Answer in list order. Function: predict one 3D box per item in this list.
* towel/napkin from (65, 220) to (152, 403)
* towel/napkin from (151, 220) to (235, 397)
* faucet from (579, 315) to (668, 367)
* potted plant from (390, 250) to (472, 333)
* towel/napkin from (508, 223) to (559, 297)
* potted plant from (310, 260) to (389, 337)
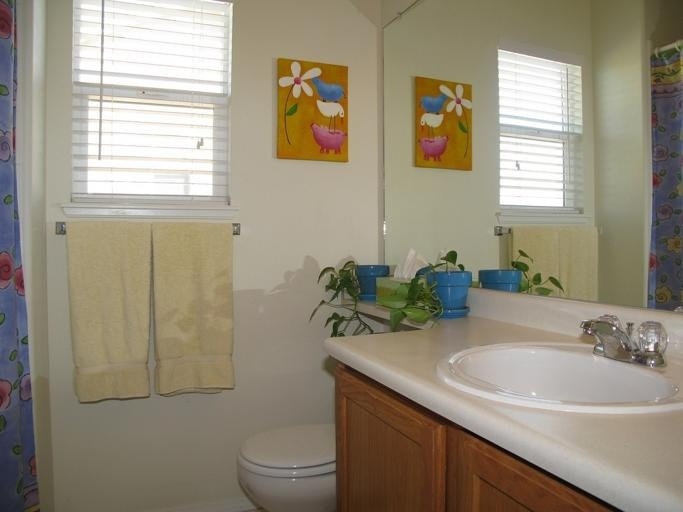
[{"bbox_3d":[-0.917,0.224,2.228,0.285,0.724,0.115,-1,-12,-12],"label":"towel/napkin"},{"bbox_3d":[-0.605,0.212,2.262,0.324,0.686,0.201,-4,13,-12],"label":"towel/napkin"},{"bbox_3d":[0.764,0.229,1.569,0.098,0.155,0.290,0,4,-38],"label":"faucet"},{"bbox_3d":[0.356,0.096,2.024,0.306,0.285,0.185,-6,3,-37],"label":"potted plant"},{"bbox_3d":[0.663,-0.031,1.903,0.208,0.031,0.270,11,34,26],"label":"towel/napkin"},{"bbox_3d":[-0.003,0.218,2.501,0.281,0.377,0.298,1,13,12],"label":"potted plant"}]
